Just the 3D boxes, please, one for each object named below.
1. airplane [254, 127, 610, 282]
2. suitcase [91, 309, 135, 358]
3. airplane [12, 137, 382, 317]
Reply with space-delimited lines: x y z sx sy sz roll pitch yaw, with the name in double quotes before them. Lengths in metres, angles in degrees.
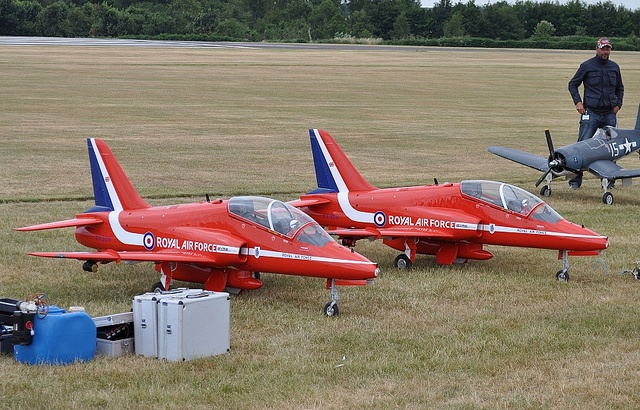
"airplane" 5.935 0.513 65.696 30.809 8.603 9.137 0 2 16
"suitcase" -9.825 6.078 60.881 1.674 1.362 1.149 -25 18 -6
"airplane" -4.857 1.588 63.987 10.971 3.595 10.513 7 9 26
